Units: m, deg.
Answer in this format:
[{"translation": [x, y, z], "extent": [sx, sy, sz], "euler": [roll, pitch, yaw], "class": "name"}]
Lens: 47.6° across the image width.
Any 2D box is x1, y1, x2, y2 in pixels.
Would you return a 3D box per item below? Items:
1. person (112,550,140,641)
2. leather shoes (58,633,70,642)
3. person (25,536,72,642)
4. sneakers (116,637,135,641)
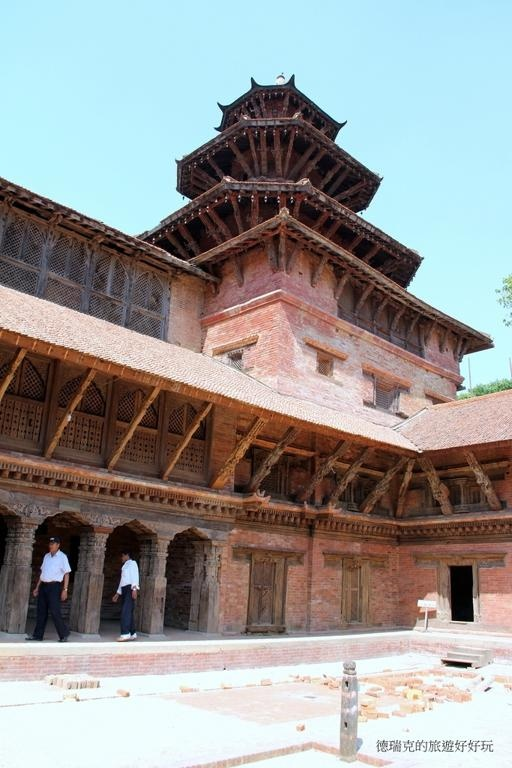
[{"translation": [-2.108, 3.533, 9.662], "extent": [0.388, 1.354, 0.575], "euler": [8, -20, -21], "class": "person"}, {"translation": [-2.850, 3.756, 8.596], "extent": [0.112, 0.091, 0.219], "euler": [13, -22, -9], "class": "leather shoes"}, {"translation": [-3.084, 3.130, 8.855], "extent": [0.572, 1.471, 0.988], "euler": [8, -19, -19], "class": "person"}, {"translation": [-2.105, 4.121, 9.410], "extent": [0.274, 0.082, 0.253], "euler": [4, -18, -10], "class": "sneakers"}]
